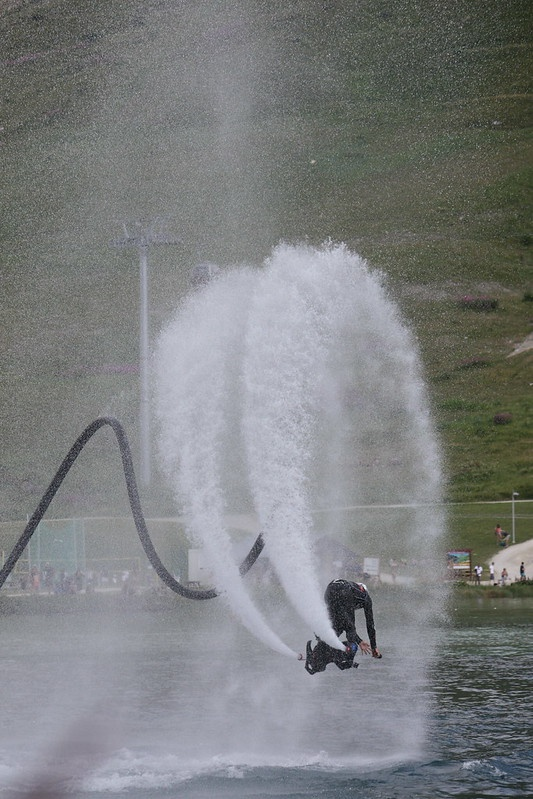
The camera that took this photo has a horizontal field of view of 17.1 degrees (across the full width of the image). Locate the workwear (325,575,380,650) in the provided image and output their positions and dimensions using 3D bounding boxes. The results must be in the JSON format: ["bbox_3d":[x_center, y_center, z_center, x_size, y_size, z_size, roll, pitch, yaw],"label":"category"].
[{"bbox_3d":[1.780,4.315,35.851,0.873,1.558,1.047,-4,10,-24],"label":"workwear"}]

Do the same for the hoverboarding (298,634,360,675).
[{"bbox_3d":[1.225,5.234,36.015,0.913,0.819,0.967,0,-4,-15],"label":"hoverboarding"}]

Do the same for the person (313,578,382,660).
[{"bbox_3d":[1.744,4.337,35.643,0.861,1.714,0.897,0,0,-34],"label":"person"}]
